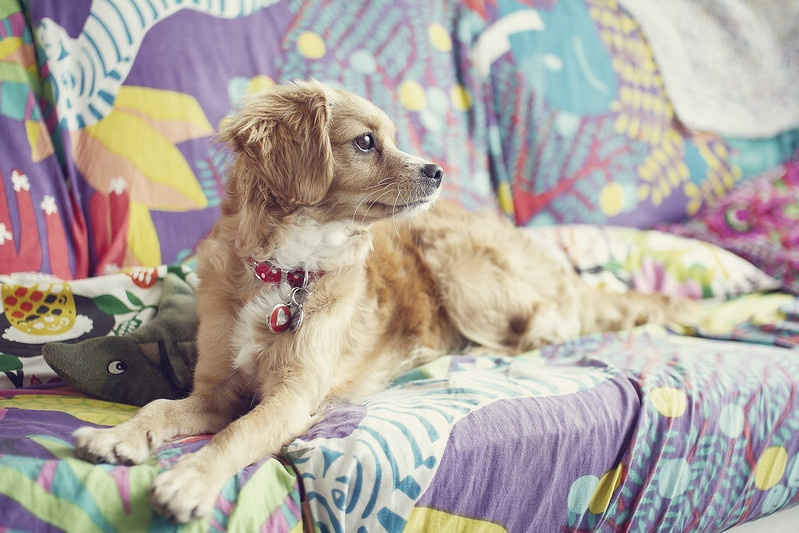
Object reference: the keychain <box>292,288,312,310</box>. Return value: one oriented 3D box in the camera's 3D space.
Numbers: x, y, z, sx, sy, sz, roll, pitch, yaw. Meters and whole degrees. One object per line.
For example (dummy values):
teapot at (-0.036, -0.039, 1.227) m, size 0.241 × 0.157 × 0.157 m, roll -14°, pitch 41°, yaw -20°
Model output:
keychain at (-0.421, 0.130, 3.469) m, size 0.067 × 0.095 × 0.029 m, roll 20°, pitch -16°, yaw -15°

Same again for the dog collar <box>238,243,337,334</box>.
dog collar at (-0.466, 0.110, 3.457) m, size 0.230 × 0.335 × 0.123 m, roll -16°, pitch -13°, yaw -18°
